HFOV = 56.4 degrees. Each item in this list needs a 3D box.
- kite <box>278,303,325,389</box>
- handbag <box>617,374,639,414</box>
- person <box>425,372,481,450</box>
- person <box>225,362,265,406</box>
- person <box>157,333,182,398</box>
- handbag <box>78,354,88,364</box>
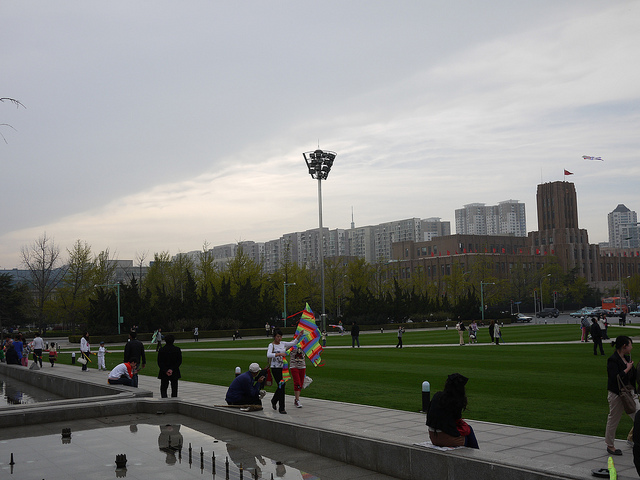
[{"bbox_3d":[-0.464,3.220,20.623,0.380,1.313,2.065,-4,-37,-26],"label":"kite"},{"bbox_3d":[6.457,3.163,12.317,0.592,0.787,0.251,1,-6,-34],"label":"handbag"},{"bbox_3d":[2.468,3.254,11.332,0.895,1.464,0.612,-4,-5,13],"label":"person"},{"bbox_3d":[-1.974,4.232,16.389,1.239,1.608,0.748,0,-6,-10],"label":"person"},{"bbox_3d":[-4.774,3.970,18.903,0.681,1.936,0.556,0,-6,-23],"label":"person"},{"bbox_3d":[-12.183,6.096,30.569,0.321,0.484,0.674,0,-6,-26],"label":"handbag"}]
